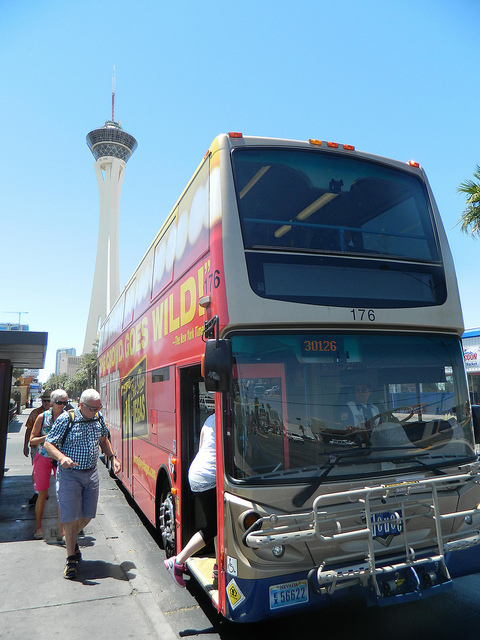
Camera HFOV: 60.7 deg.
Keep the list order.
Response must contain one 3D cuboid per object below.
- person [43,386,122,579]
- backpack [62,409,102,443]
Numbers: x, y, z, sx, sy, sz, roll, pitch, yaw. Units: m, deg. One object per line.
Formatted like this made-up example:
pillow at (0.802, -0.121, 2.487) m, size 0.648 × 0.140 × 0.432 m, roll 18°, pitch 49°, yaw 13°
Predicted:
person at (-1.696, 1.711, 4.427) m, size 0.538 × 1.986 × 0.724 m, roll -4°, pitch -8°, yaw 32°
backpack at (-1.712, 1.136, 4.455) m, size 0.319 × 0.367 × 0.202 m, roll -26°, pitch -25°, yaw 38°
